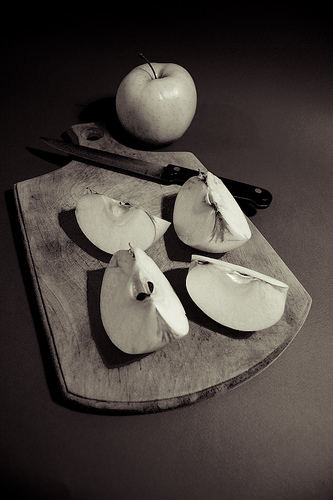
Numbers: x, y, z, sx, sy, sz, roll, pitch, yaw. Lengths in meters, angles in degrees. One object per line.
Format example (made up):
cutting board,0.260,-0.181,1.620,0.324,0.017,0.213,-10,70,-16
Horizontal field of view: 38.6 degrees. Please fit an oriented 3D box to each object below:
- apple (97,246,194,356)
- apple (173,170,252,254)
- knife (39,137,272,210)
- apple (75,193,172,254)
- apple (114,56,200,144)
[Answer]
apple,-0.044,0.084,0.826,0.145,0.071,0.216,-18,54,-18
apple,0.103,-0.079,0.954,0.178,0.112,0.188,5,52,15
knife,-0.044,-0.174,1.095,0.477,0.023,0.072,20,46,6
apple,-0.104,-0.049,0.969,0.185,0.103,0.110,18,98,3
apple,-0.017,-0.329,1.144,0.183,0.182,0.186,-10,36,5
